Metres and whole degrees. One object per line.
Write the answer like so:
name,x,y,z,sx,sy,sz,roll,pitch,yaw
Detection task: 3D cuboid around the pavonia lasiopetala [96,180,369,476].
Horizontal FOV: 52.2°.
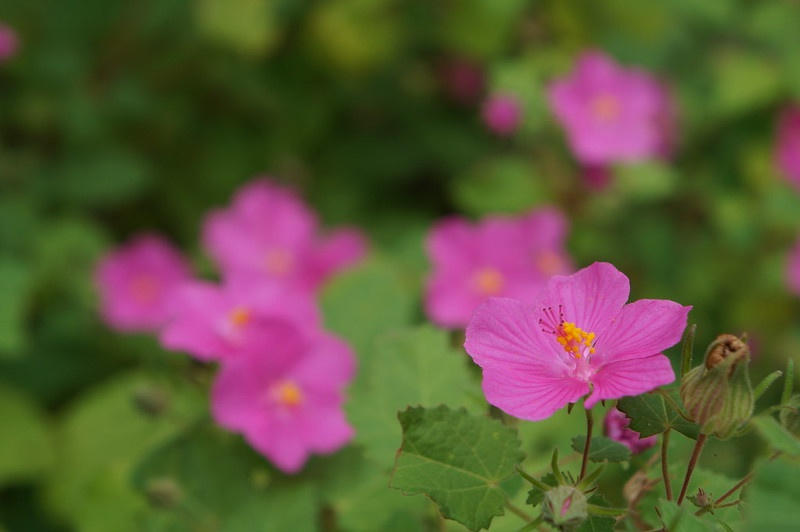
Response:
pavonia lasiopetala,-0.181,0.079,1.089,0.356,0.125,0.348,-20,53,-26

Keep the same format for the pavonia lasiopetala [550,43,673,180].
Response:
pavonia lasiopetala,0.323,-0.228,1.285,0.177,0.206,0.038,-27,7,-32
